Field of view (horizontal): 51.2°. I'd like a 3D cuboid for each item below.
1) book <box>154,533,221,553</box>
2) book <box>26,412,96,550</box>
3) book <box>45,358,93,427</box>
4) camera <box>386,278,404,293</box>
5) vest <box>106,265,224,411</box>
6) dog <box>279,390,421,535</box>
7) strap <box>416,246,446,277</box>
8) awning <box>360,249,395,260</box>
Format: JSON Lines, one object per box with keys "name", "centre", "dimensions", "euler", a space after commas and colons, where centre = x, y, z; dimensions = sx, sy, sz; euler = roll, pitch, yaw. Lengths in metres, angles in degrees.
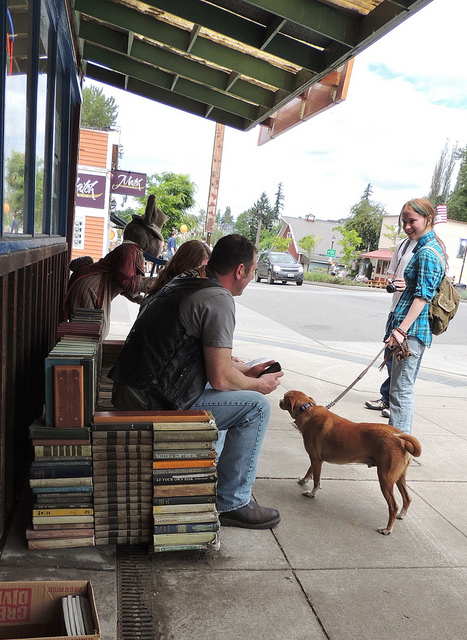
{"name": "book", "centre": [-0.224, 1.015, 2.245], "dimensions": [0.172, 0.038, 0.165], "euler": [1, -9, -7]}
{"name": "book", "centre": [-0.711, 0.724, 2.198], "dimensions": [0.167, 0.506, 0.385], "euler": [-1, -2, -11]}
{"name": "book", "centre": [-0.728, 0.314, 2.125], "dimensions": [0.172, 0.258, 0.381], "euler": [4, 6, -11]}
{"name": "camera", "centre": [1.307, -0.267, 4.048], "dimensions": [0.124, 0.117, 0.054], "euler": [10, -21, -7]}
{"name": "vest", "centre": [-0.341, 0.091, 2.552], "dimensions": [0.455, 0.688, 0.552], "euler": [25, 16, -13]}
{"name": "dog", "centre": [0.709, 0.721, 2.978], "dimensions": [0.721, 0.688, 0.826], "euler": [10, 10, 3]}
{"name": "strap", "centre": [1.522, -0.462, 3.825], "dimensions": [0.218, 0.239, 0.156], "euler": [-13, 20, 23]}
{"name": "awning", "centre": [17.497, -7.866, 58.966], "dimensions": [2.328, 1.493, 7.018], "euler": [8, 6, 5]}
